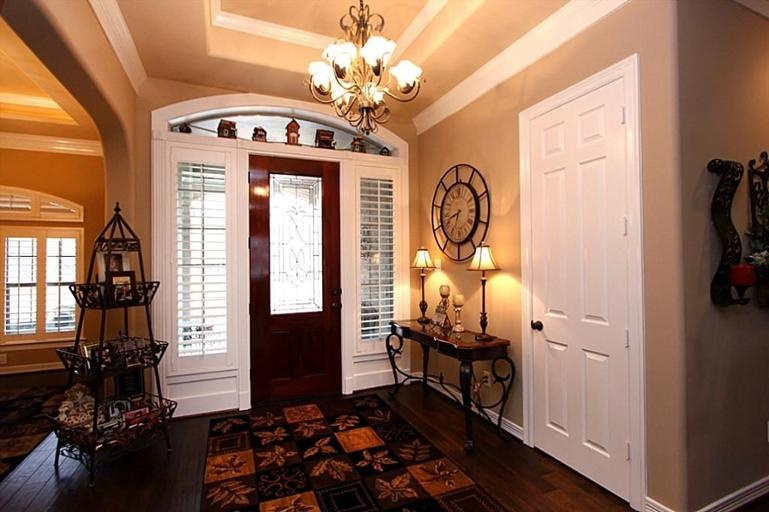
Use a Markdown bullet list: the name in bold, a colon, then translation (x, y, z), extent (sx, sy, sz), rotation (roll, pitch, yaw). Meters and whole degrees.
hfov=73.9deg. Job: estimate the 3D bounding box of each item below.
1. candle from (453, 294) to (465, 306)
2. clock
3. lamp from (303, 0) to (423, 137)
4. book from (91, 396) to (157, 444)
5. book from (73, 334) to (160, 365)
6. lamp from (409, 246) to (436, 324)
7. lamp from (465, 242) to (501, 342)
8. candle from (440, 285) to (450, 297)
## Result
- **candle**: translation (0.792, 0.467, 5.446), extent (0.118, 0.130, 0.118), rotation (-1, 5, -23)
- **clock**: translation (0.858, -0.495, 5.877), extent (0.165, 1.116, 1.061), rotation (-3, 0, -23)
- **lamp**: translation (-0.236, -1.745, 4.838), extent (0.941, 1.230, 1.567), rotation (-3, 1, -4)
- **book**: translation (-2.477, 1.531, 4.866), extent (0.376, 0.170, 0.382), rotation (-1, 0, 32)
- **book**: translation (-2.594, 0.915, 4.959), extent (0.585, 0.297, 0.753), rotation (-3, 1, 43)
- **lamp**: translation (0.490, 0.340, 6.237), extent (0.265, 0.885, 0.688), rotation (-3, 0, 6)
- **lamp**: translation (1.047, 0.356, 5.306), extent (0.287, 0.958, 0.469), rotation (-3, 0, 13)
- **candle**: translation (0.650, 0.386, 5.614), extent (0.110, 0.123, 0.112), rotation (0, 1, -10)
